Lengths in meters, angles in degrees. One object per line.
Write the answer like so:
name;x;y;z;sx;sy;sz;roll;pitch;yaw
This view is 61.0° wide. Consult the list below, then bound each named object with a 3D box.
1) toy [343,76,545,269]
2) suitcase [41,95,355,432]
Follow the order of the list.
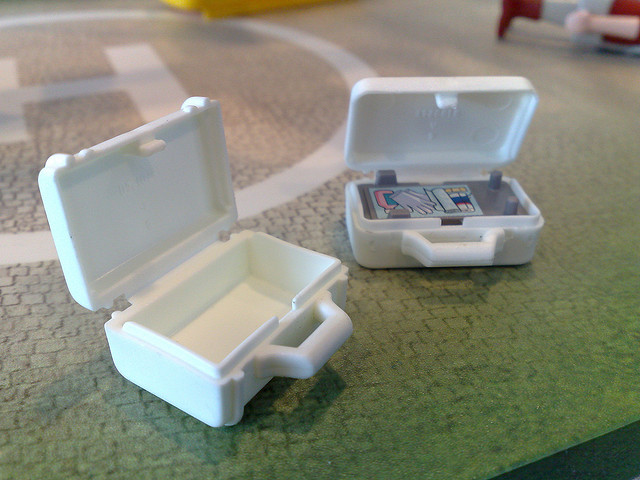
toy;0.460;-0.227;1.952;0.725;0.576;0.541;-6;38;-6
suitcase;-0.259;0.065;1.541;0.769;0.671;0.616;22;38;20
